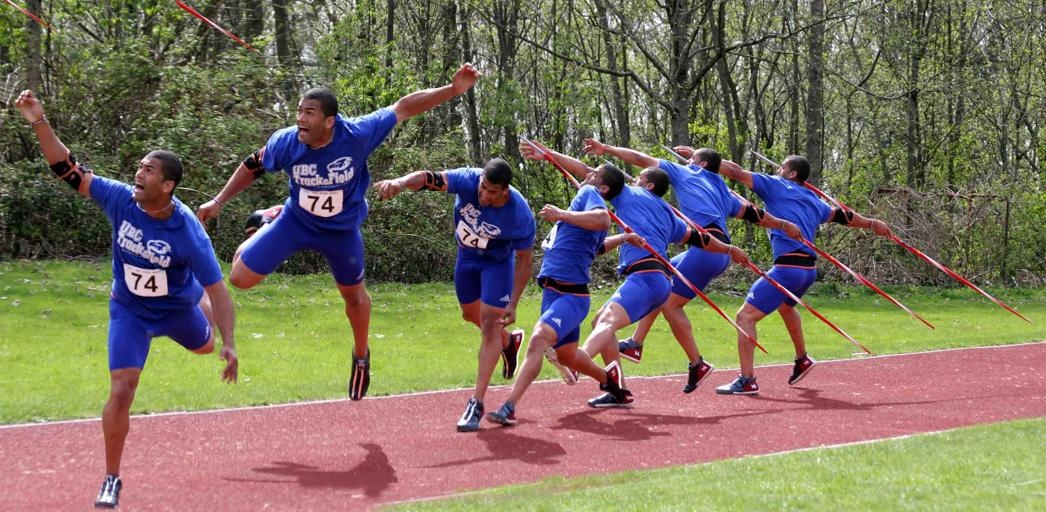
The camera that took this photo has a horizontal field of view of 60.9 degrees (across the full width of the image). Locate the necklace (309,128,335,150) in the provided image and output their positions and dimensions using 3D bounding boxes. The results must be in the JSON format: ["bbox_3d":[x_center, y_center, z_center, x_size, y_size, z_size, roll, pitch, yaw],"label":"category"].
[{"bbox_3d":[-4.109,-2.409,18.285,0.492,0.403,0.177,0,6,-13],"label":"necklace"}]

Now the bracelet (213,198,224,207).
[{"bbox_3d":[-6.325,-1.118,18.490,0.199,0.047,0.191,28,2,-8],"label":"bracelet"}]

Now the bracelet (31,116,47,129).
[{"bbox_3d":[-9.513,-2.640,17.464,0.276,0.093,0.242,-26,4,18],"label":"bracelet"}]

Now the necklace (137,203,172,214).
[{"bbox_3d":[-7.148,-0.930,17.390,0.442,0.205,0.304,18,4,5],"label":"necklace"}]
